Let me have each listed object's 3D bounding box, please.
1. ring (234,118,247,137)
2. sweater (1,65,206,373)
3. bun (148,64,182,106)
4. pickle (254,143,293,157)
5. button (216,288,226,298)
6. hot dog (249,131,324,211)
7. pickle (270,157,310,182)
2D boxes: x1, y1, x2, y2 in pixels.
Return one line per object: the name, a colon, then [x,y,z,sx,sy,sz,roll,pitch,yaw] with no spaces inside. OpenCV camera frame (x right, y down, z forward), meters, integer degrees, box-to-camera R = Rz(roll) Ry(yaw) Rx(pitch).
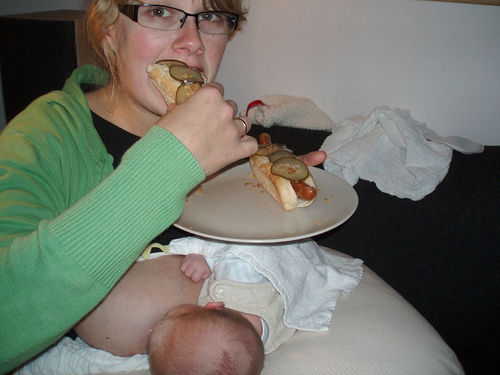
ring: [-0.035,-0.238,1.552,0.013,0.051,0.049,-17,24,-18]
sweater: [-0.691,0.043,1.517,0.755,0.709,0.809,-19,51,-29]
bun: [-0.369,-0.454,1.694,0.044,0.115,0.172,-34,77,-32]
pickle: [0.099,-0.200,2.048,0.107,0.030,0.111,13,31,27]
button: [-0.140,0.498,1.845,0.039,0.011,0.043,3,84,5]
hot dog: [0.157,-0.072,1.985,0.195,0.195,0.517,-11,43,-24]
pickle: [0.188,-0.108,1.899,0.119,0.170,0.043,-4,73,39]
